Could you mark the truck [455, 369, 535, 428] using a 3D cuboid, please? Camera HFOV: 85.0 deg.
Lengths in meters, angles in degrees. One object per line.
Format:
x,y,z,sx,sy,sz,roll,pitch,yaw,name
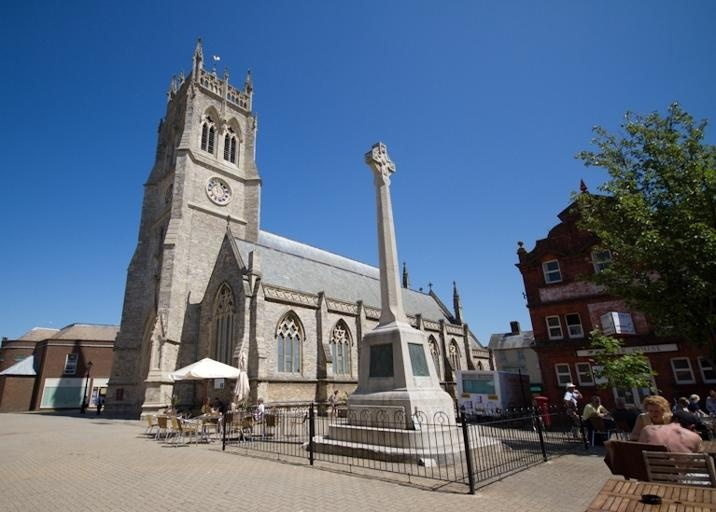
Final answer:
9.125,9.275,25.971,2.916,2.461,5.422,-14,-28,38,truck
